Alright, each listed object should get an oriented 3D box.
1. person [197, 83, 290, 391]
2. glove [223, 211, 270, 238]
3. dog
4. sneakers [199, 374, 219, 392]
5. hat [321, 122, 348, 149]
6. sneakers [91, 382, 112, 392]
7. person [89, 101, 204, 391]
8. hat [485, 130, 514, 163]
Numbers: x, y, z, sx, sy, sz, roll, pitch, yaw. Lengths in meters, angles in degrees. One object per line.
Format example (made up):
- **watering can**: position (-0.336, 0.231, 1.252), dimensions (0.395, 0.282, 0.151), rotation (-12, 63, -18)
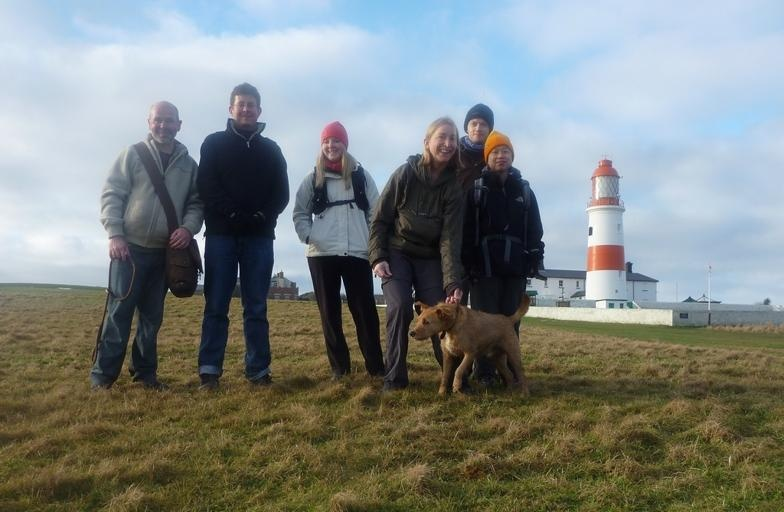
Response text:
- **person**: position (-2.113, -0.288, 9.168), dimensions (1.182, 4.137, 0.555), rotation (3, -4, -18)
- **glove**: position (-1.974, -0.450, 9.137), dimensions (0.640, 0.337, 0.248), rotation (3, -3, -13)
- **dog**: position (1.118, 1.229, 8.900), dimensions (1.766, 1.353, 0.616), rotation (3, -7, -27)
- **sneakers**: position (-2.453, 1.687, 8.916), dimensions (0.262, 0.202, 0.421), rotation (3, -3, -14)
- **hat**: position (-0.810, -1.731, 9.323), dimensions (0.349, 0.326, 0.302), rotation (2, -3, 3)
- **sneakers**: position (-3.798, 1.687, 8.656), dimensions (0.252, 0.122, 0.313), rotation (3, -3, -23)
- **person**: position (-3.327, -0.168, 9.027), dimensions (1.226, 3.861, 0.449), rotation (3, -4, -23)
- **hat**: position (1.396, -1.540, 9.063), dimensions (0.474, 0.412, 0.288), rotation (-1, -4, 41)
